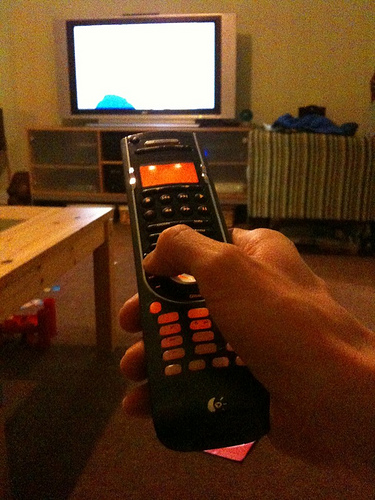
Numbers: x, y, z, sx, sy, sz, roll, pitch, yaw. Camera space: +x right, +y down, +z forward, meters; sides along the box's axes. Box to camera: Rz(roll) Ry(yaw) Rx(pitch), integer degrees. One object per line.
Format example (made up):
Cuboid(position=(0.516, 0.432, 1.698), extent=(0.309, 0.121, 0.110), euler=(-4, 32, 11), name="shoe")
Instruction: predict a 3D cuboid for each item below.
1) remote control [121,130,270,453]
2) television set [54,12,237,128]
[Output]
Cuboid(position=(-0.001, 0.013, 0.389), extent=(0.085, 0.050, 0.314), euler=(-9, 62, -5), name="remote control")
Cuboid(position=(-0.257, -1.114, 2.678), extent=(1.228, 0.641, 0.239), euler=(8, 24, 20), name="television set")
